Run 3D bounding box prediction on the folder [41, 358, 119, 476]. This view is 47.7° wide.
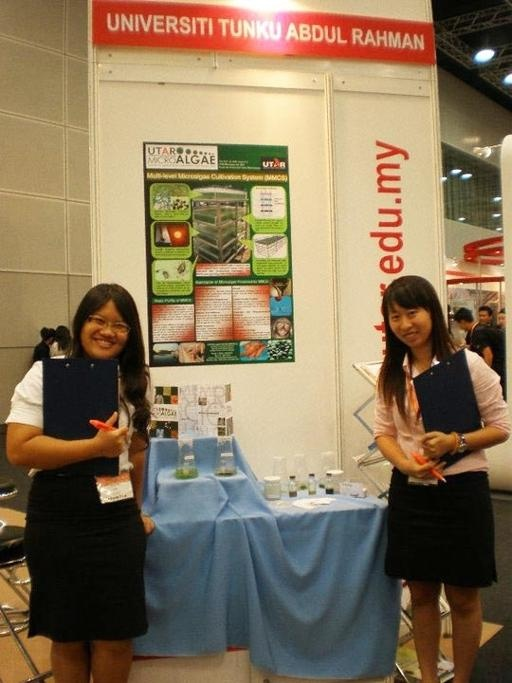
[{"bbox_3d":[-0.417,0.133,1.371,0.173,0.188,0.039,-5,4,-20],"label":"folder"}]

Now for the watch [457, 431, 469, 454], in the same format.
[{"bbox_3d":[0.587,0.289,1.658,0.033,0.049,0.052,-3,-36,-3],"label":"watch"}]

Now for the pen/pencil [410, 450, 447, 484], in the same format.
[{"bbox_3d":[0.508,0.363,1.690,0.022,0.148,0.023,-37,16,54],"label":"pen/pencil"}]

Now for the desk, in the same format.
[{"bbox_3d":[0.066,0.755,2.238,0.785,0.586,0.762,-1,-2,4],"label":"desk"}]
